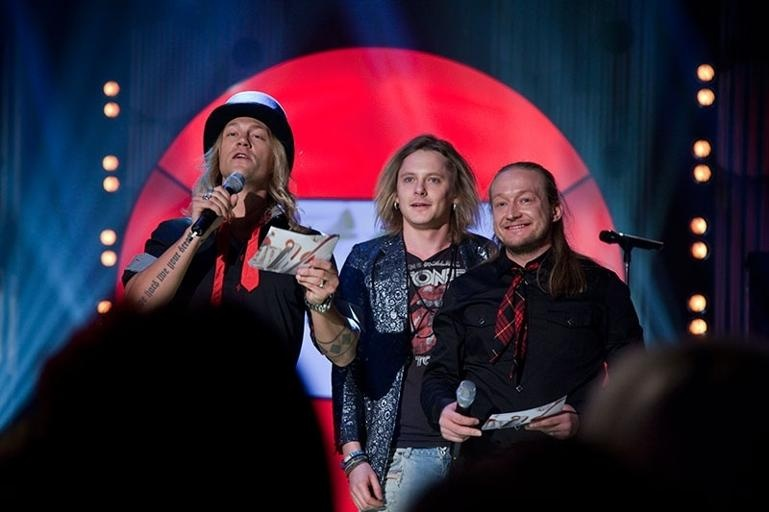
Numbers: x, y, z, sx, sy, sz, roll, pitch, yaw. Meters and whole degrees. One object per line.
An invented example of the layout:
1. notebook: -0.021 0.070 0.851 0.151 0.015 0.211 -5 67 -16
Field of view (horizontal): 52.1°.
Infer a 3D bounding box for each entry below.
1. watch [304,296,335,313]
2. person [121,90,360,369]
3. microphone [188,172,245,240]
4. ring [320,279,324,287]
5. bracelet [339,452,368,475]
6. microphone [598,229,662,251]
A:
1. watch: -0.309 0.218 3.838 0.093 0.098 0.100 -32 21 -25
2. person: -0.696 0.075 4.093 1.197 1.933 0.966 2 -7 -1
3. microphone: -0.811 -0.243 3.913 0.126 0.442 0.129 28 -34 11
4. ring: -0.292 0.131 3.703 0.009 0.028 0.021 0 -1 28
5. bracelet: -0.151 1.038 4.049 0.125 0.086 0.123 5 -48 -43
6. microphone: 1.625 -0.116 5.134 0.365 0.095 0.097 6 -42 -18
